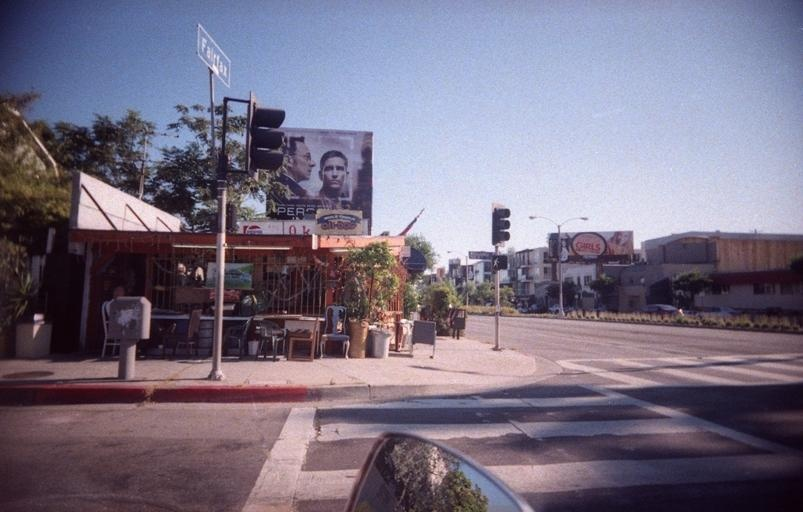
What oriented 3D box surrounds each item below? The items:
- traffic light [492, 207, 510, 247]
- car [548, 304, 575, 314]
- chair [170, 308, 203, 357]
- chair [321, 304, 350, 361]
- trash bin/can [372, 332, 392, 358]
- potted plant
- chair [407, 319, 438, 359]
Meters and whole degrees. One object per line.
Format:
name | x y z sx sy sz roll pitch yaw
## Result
traffic light | 3.682 -0.970 22.937 0.670 1.455 0.609 -3 -5 25
car | 17.843 6.087 68.777 2.773 1.405 1.970 2 -5 6
chair | -6.778 2.463 19.649 0.810 1.373 1.878 1 -6 -19
chair | -2.142 2.474 20.118 0.936 1.648 1.121 -1 -5 -5
trash bin/can | -0.667 2.954 20.409 0.764 0.881 0.712 4 -12 -19
potted plant | -1.045 1.506 20.349 1.569 3.646 0.863 0 -5 -10
chair | 0.753 2.777 20.765 0.970 1.393 1.122 2 -4 5
